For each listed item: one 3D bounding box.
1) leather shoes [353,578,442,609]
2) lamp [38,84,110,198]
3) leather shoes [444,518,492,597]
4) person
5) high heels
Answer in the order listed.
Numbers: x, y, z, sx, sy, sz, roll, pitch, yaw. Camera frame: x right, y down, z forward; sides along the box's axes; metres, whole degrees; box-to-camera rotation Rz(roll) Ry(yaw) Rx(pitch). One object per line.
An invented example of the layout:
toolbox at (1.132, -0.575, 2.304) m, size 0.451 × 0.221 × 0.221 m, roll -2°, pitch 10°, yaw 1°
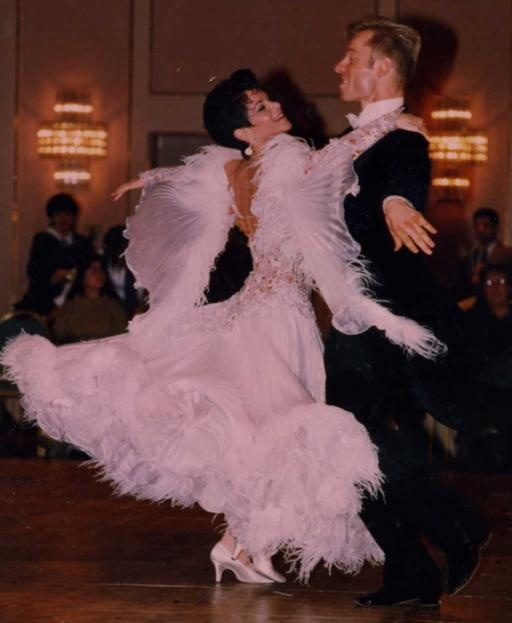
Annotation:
leather shoes at (0.453, 0.887, 3.216) m, size 0.285 × 0.115 × 0.095 m, roll 1°, pitch -9°, yaw 7°
lamp at (-1.039, -0.984, 5.938) m, size 0.422 × 0.540 × 0.195 m, roll 2°, pitch 4°, yaw 3°
leather shoes at (0.663, 0.784, 3.223) m, size 0.096 × 0.281 × 0.041 m, roll 26°, pitch -22°, yaw 6°
person at (-0.054, 0.056, 3.305) m, size 1.342 × 1.698 × 0.487 m, roll 1°, pitch 5°, yaw 20°
high heels at (-0.032, 0.846, 3.441) m, size 0.249 × 0.128 × 0.120 m, roll 8°, pitch -15°, yaw -15°
